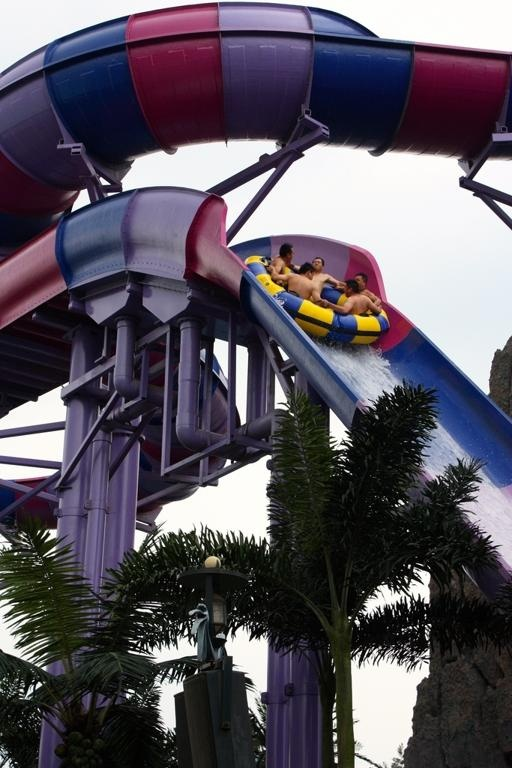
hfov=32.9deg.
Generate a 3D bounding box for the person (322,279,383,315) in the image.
[{"bbox_3d":[1.185,-0.965,10.243,0.820,0.361,0.452,-4,12,-23],"label":"person"}]
